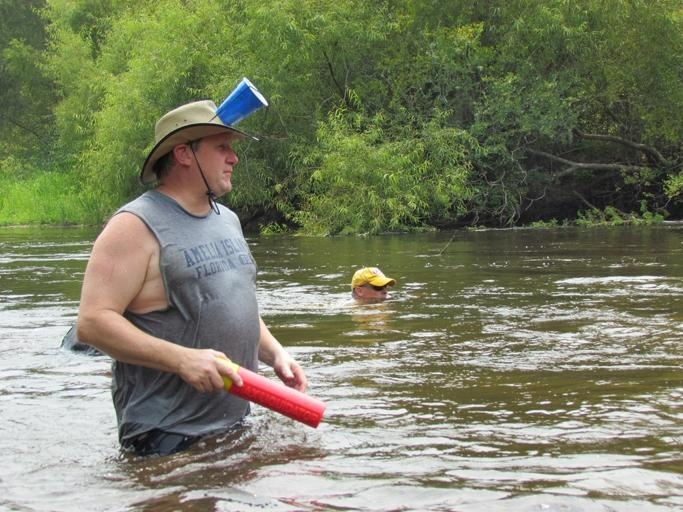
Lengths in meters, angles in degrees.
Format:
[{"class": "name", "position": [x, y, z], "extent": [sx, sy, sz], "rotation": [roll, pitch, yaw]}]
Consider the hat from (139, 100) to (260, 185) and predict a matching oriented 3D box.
[{"class": "hat", "position": [-0.999, -0.898, 6.493], "extent": [0.598, 0.223, 0.472], "rotation": [-13, -1, 37]}]

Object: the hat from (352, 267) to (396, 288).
[{"class": "hat", "position": [0.397, 0.268, 11.621], "extent": [0.468, 0.163, 0.268], "rotation": [-4, -9, 20]}]

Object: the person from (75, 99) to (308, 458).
[{"class": "person", "position": [-1.081, 0.137, 6.397], "extent": [1.365, 2.357, 0.814], "rotation": [-10, 12, -35]}]
